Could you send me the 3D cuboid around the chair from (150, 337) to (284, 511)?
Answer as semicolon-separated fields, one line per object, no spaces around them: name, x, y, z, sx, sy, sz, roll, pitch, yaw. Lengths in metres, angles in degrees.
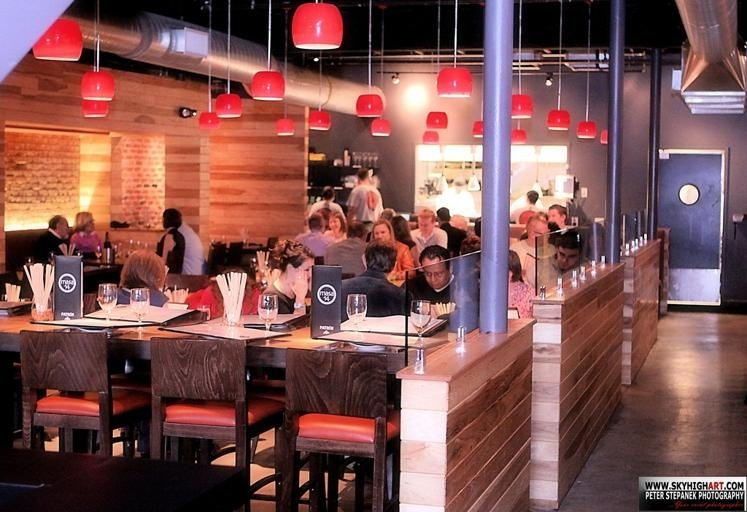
chair;-0.854;0.727;3.505;0.593;0.676;0.459;3;6;12

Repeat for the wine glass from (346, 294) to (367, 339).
wine glass;-0.097;0.301;3.476;0.099;0.214;0.233;1;6;-3

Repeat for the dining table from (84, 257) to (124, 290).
dining table;-3.347;0.223;8.016;0.481;0.282;0.716;2;2;13

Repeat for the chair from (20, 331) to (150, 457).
chair;-1.586;0.764;3.611;0.563;0.808;0.488;2;6;10

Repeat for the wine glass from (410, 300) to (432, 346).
wine glass;0.210;0.280;2.896;0.093;0.178;0.063;2;6;6

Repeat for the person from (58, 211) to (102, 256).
person;-4.077;-0.305;9.008;0.448;0.780;0.706;0;6;-10
